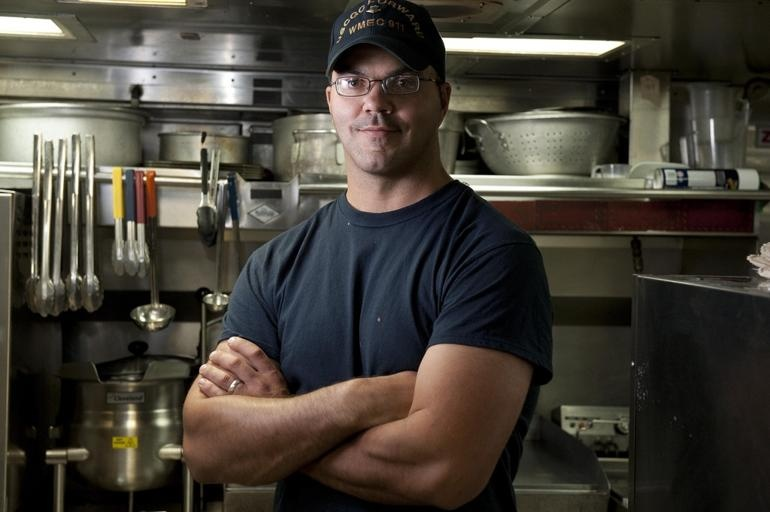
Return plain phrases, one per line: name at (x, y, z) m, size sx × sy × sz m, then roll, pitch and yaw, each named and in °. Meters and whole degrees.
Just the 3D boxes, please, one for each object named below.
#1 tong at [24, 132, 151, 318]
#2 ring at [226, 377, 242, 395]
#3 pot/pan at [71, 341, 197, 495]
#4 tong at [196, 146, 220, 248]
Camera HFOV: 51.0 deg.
tong at (-1.115, -0.122, 3.015) m, size 0.400 × 0.659 × 0.245 m, roll 1°, pitch -2°, yaw -24°
ring at (-0.408, 0.349, 2.194) m, size 0.036 × 0.036 × 0.036 m, roll 29°, pitch -18°, yaw 10°
pot/pan at (-0.929, 0.601, 3.173) m, size 0.518 × 0.499 × 0.472 m, roll -2°, pitch -6°, yaw 19°
tong at (-0.658, -0.232, 3.015) m, size 0.097 × 0.336 × 0.064 m, roll 0°, pitch -2°, yaw -2°
